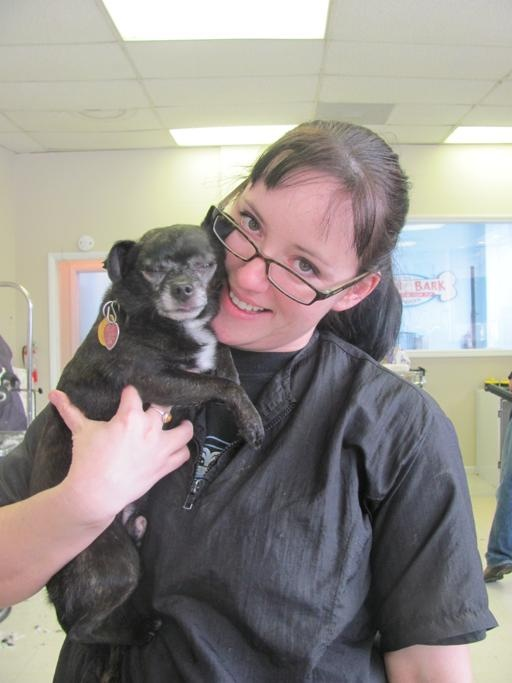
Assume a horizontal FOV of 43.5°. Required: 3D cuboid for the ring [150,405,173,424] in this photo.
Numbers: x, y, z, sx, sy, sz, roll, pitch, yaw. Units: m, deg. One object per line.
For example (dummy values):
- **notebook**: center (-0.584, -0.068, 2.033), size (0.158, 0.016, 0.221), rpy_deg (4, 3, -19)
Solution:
- **ring**: center (-0.212, 0.168, 1.492), size (0.048, 0.026, 0.042), rpy_deg (27, -6, 27)
